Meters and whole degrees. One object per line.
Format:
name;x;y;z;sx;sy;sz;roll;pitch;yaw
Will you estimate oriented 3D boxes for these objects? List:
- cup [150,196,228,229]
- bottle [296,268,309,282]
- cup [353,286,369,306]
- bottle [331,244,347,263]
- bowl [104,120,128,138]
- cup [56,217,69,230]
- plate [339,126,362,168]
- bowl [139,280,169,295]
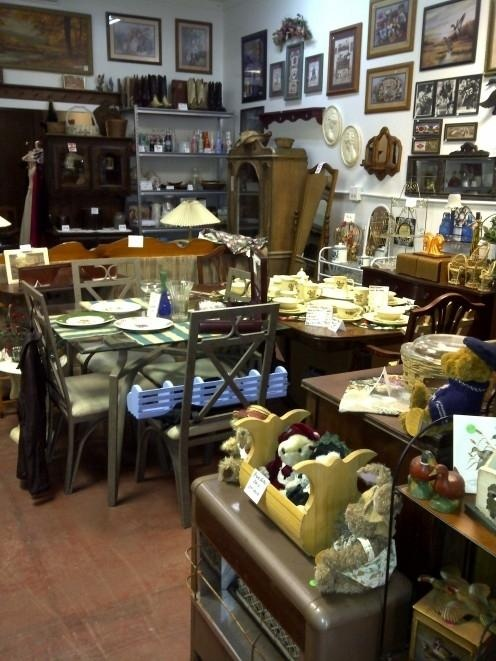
cup;-0.397;-0.796;3.198;0.350;0.172;0.233;-1;12;-10
bottle;0.347;-0.344;3.045;0.121;0.115;0.121;1;4;8
cup;0.653;-0.194;2.756;0.074;0.107;0.111;6;11;31
bottle;0.796;-0.663;4.150;0.172;0.174;0.110;-3;13;-18
bowl;-1.579;-2.440;5.859;0.267;0.220;0.286;1;23;0
cup;-2.227;-1.304;5.776;0.160;0.182;0.161;1;14;0
plate;0.971;-1.748;4.544;0.052;0.384;0.322;-4;13;-23
bowl;-0.525;-0.236;2.669;0.107;0.074;0.110;0;18;0
